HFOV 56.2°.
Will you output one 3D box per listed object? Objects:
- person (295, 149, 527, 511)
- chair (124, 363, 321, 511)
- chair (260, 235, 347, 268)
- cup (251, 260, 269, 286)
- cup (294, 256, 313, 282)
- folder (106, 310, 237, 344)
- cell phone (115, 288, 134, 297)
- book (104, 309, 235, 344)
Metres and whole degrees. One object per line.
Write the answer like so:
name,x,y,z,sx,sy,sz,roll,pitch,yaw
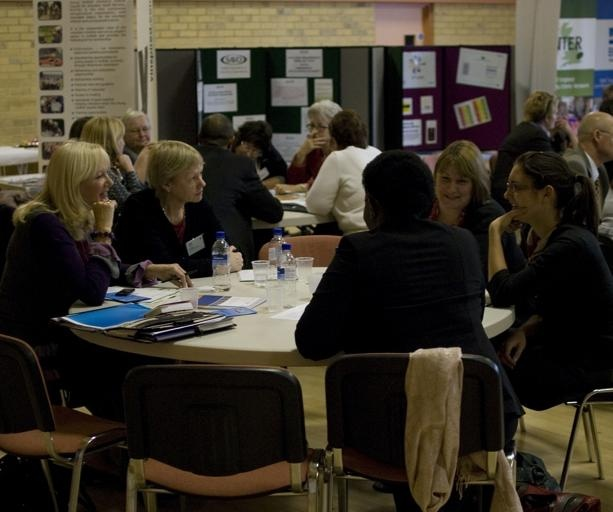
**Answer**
person,0.229,0.122,1.539,0.610,0.899,0.538,1,13,19
chair,-0.236,0.418,1.637,0.403,0.626,0.409,1,10,2
chair,0.001,0.007,3.123,0.278,0.251,0.221,4,0,23
cup,-0.205,0.078,2.498,0.095,0.107,0.093,2,7,0
cup,-0.008,0.055,2.544,0.092,0.094,0.091,0,-4,0
folder,-0.395,0.218,1.784,0.188,0.032,0.161,-10,9,-39
cell phone,-0.738,0.150,2.327,0.063,0.013,0.116,-7,2,-5
book,-0.397,0.218,1.782,0.188,0.034,0.162,-9,8,-39
